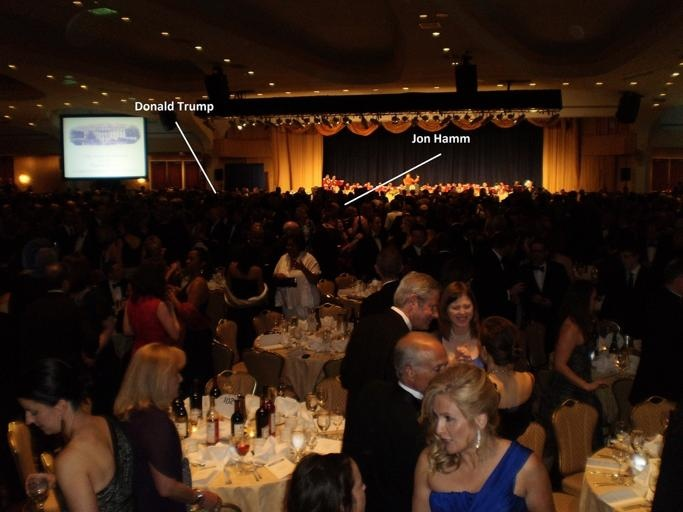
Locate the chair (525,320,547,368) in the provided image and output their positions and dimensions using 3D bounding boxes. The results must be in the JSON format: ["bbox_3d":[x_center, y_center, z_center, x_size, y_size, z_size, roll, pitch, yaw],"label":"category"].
[{"bbox_3d":[2.489,1.127,7.225,0.269,0.590,0.179,1,1,20],"label":"chair"}]

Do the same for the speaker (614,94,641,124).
[{"bbox_3d":[7.906,-4.072,15.412,0.496,0.554,0.494,1,1,1],"label":"speaker"}]

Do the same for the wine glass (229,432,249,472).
[{"bbox_3d":[-0.689,1.379,4.005,0.144,0.255,0.145,0,-2,18],"label":"wine glass"}]

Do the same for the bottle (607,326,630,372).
[{"bbox_3d":[2.773,0.912,5.620,0.189,0.264,0.609,1,0,27],"label":"bottle"}]

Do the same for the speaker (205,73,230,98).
[{"bbox_3d":[-2.802,-3.833,12.669,0.517,0.653,0.333,1,1,-18],"label":"speaker"}]

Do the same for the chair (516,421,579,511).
[{"bbox_3d":[1.580,1.577,4.286,0.427,0.597,0.373,1,1,23],"label":"chair"}]
